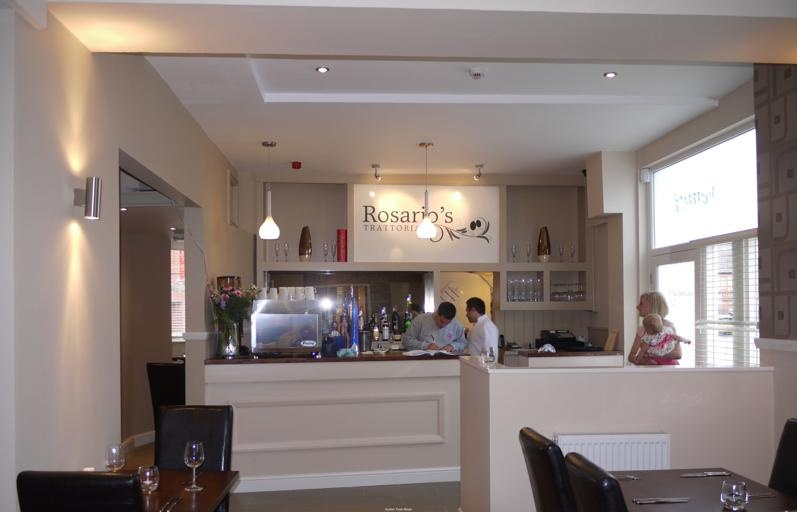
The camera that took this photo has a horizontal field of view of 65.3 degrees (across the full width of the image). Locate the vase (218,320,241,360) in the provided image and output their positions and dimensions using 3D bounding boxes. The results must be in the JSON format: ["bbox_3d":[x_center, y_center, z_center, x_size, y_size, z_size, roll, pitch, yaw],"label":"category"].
[{"bbox_3d":[-1.889,0.920,6.859,0.245,0.402,0.255,-17,-23,42],"label":"vase"}]

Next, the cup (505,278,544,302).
[{"bbox_3d":[1.750,0.482,8.623,0.512,0.312,0.167,0,-6,6],"label":"cup"}]

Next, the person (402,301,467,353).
[{"bbox_3d":[0.431,0.846,7.384,0.702,0.561,0.580,-3,-7,30],"label":"person"}]

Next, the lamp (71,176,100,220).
[{"bbox_3d":[-2.166,-0.409,4.392,0.163,0.292,0.219,0,-6,-1],"label":"lamp"}]

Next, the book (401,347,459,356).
[{"bbox_3d":[0.355,1.029,6.638,0.507,0.078,0.453,-5,-8,35],"label":"book"}]

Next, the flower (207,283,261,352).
[{"bbox_3d":[-1.816,0.665,6.952,0.708,0.795,0.656,1,1,-7],"label":"flower"}]
